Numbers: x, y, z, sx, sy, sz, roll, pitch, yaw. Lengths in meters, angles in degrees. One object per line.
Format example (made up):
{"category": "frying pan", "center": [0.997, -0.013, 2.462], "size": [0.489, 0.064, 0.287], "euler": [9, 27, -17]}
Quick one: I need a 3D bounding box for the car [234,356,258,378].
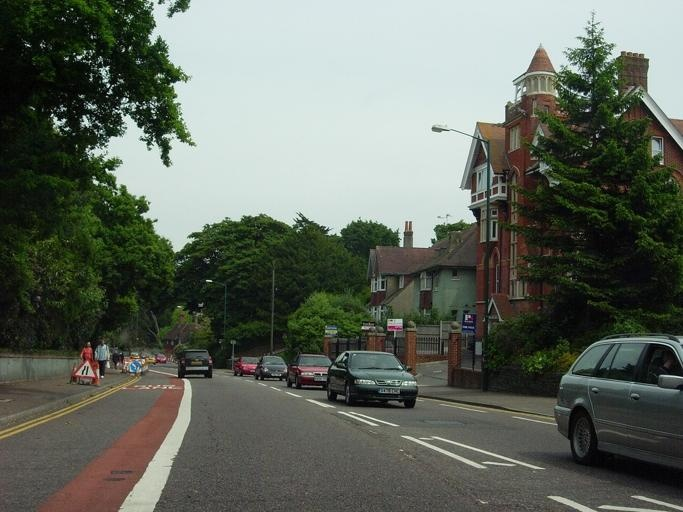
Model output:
{"category": "car", "center": [-6.803, 7.723, 56.009], "size": [1.315, 1.069, 3.017], "euler": [2, -12, -19]}

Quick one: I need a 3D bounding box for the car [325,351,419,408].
{"category": "car", "center": [0.869, 3.768, 24.472], "size": [1.756, 1.785, 3.273], "euler": [5, -12, -29]}

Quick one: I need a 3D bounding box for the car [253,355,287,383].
{"category": "car", "center": [-4.003, 6.324, 45.105], "size": [1.051, 1.075, 2.415], "euler": [2, -15, -11]}

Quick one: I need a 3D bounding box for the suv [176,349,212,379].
{"category": "suv", "center": [-8.489, 6.214, 45.936], "size": [1.791, 1.679, 2.074], "euler": [3, -10, -17]}
